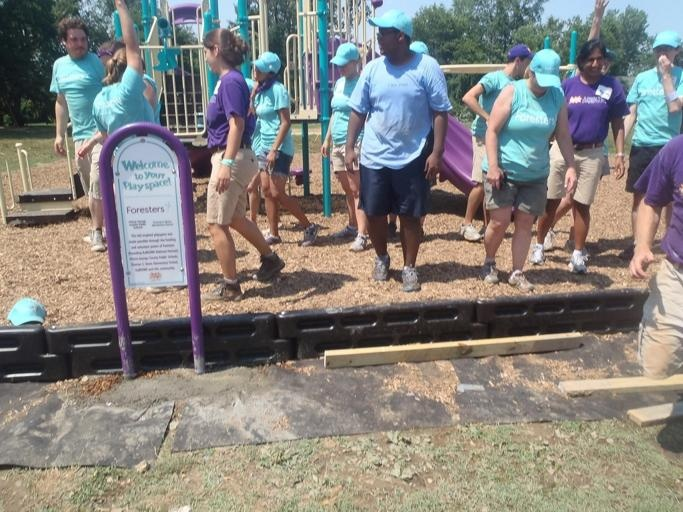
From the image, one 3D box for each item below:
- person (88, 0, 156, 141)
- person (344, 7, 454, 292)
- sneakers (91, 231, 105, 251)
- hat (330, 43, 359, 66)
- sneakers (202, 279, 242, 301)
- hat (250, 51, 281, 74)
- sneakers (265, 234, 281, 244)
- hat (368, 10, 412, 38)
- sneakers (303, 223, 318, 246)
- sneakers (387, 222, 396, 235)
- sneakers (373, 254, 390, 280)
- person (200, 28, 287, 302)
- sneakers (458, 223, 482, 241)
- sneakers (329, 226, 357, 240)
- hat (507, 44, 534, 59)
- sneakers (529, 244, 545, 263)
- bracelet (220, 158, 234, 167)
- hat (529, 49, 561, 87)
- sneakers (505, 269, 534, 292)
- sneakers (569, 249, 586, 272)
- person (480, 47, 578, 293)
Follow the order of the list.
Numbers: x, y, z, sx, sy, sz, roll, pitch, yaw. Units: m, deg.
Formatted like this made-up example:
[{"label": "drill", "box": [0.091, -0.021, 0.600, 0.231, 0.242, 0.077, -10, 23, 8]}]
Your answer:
[{"label": "person", "box": [-2.028, -1.638, 6.250, 0.529, 1.284, 1.542, -7, 19, -21]}, {"label": "person", "box": [0.507, -0.927, 6.230, 0.958, 2.466, 0.553, 1, 16, 7]}, {"label": "sneakers", "box": [-2.780, -0.168, 7.723, 0.104, 0.143, 0.296, -3, 19, -29]}, {"label": "hat", "box": [0.025, -2.231, 7.539, 0.322, 0.201, 0.215, -29, 58, -35]}, {"label": "sneakers", "box": [-1.052, 0.315, 6.091, 0.378, 0.204, 0.152, 1, 13, -3]}, {"label": "hat", "box": [-0.837, -2.122, 7.599, 0.277, 0.157, 0.237, 8, 52, -25]}, {"label": "sneakers", "box": [-0.807, -0.200, 7.964, 0.156, 0.081, 0.074, 4, 11, -8]}, {"label": "hat", "box": [0.424, -1.992, 5.892, 0.367, 0.225, 0.332, -1, 18, 1]}, {"label": "sneakers", "box": [-0.388, -0.244, 7.973, 0.134, 0.335, 0.107, 21, -9, -40]}, {"label": "sneakers", "box": [0.607, -0.330, 8.196, 0.109, 0.214, 0.117, 1, -2, 1]}, {"label": "sneakers", "box": [0.379, 0.127, 6.615, 0.108, 0.288, 0.121, 1, -22, 13]}, {"label": "person", "box": [-0.958, -0.764, 6.026, 0.458, 2.345, 0.750, 0, 16, 4]}, {"label": "sneakers", "box": [1.538, -0.288, 8.153, 0.117, 0.149, 0.312, -7, 15, -19]}, {"label": "sneakers", "box": [0.020, -0.285, 8.279, 0.348, 0.179, 0.132, 0, 10, -6]}, {"label": "hat", "box": [1.981, -2.248, 7.508, 0.227, 0.137, 0.180, -13, 32, -15]}, {"label": "sneakers", "box": [2.067, -0.035, 7.225, 0.097, 0.131, 0.275, -1, 18, 20]}, {"label": "bracelet", "box": [-0.964, -0.784, 5.710, 0.102, 0.079, 0.078, -5, 18, -12]}, {"label": "hat", "box": [1.793, -1.628, 5.981, 0.259, 0.319, 0.358, 5, 19, 18]}, {"label": "sneakers", "box": [1.680, 0.233, 6.437, 0.129, 0.128, 0.266, -30, 35, -12]}, {"label": "sneakers", "box": [2.423, 0.042, 6.960, 0.095, 0.147, 0.297, 1, 22, 6]}, {"label": "person", "box": [1.640, -0.766, 6.227, 0.648, 2.121, 0.331, 3, 16, 13]}]
